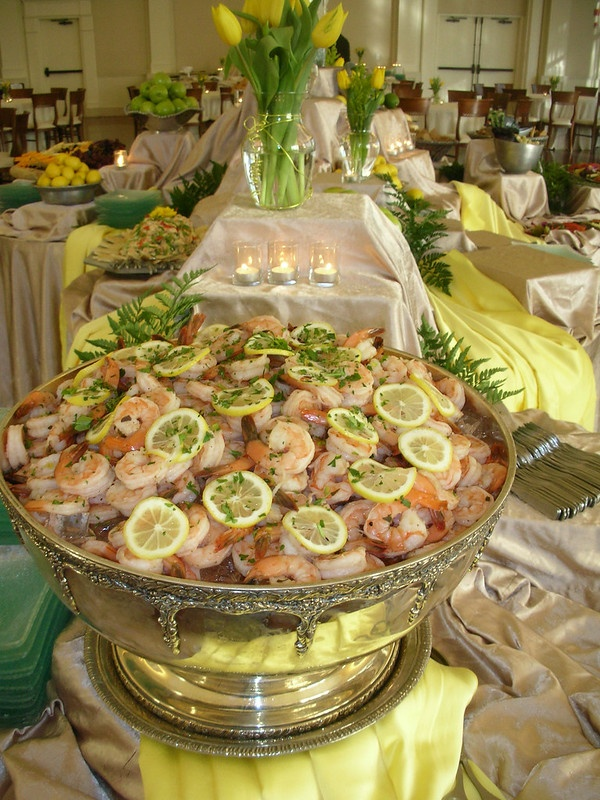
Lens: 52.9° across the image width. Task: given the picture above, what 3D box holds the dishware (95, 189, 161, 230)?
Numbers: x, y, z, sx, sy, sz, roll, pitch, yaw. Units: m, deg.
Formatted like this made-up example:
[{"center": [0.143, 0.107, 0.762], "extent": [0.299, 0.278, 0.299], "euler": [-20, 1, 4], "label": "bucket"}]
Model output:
[{"center": [-0.818, -0.902, 2.818], "extent": [0.249, 0.134, 0.241], "euler": [9, 31, 23], "label": "dishware"}]

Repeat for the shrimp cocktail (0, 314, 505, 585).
[{"center": [-0.063, 0.076, 0.690], "extent": [0.407, 0.117, 0.380], "euler": [4, 29, 4], "label": "shrimp cocktail"}]

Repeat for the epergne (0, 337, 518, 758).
[{"center": [-0.049, 0.150, 0.601], "extent": [0.436, 0.127, 0.407], "euler": [3, 23, 5], "label": "epergne"}]

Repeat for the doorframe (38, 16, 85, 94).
[{"center": [-4.833, -6.904, 12.320], "extent": [0.949, 1.737, 0.218], "euler": [-29, 61, -29], "label": "doorframe"}]

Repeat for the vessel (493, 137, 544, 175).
[{"center": [1.510, -1.675, 4.137], "extent": [0.300, 0.176, 0.281], "euler": [4, 29, 4], "label": "vessel"}]

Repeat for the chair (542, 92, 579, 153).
[{"center": [4.031, -4.281, 9.315], "extent": [0.464, 0.792, 0.525], "euler": [6, 17, 13], "label": "chair"}]

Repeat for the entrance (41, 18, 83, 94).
[{"center": [-4.856, -6.936, 12.290], "extent": [0.851, 1.990, 0.232], "euler": [-26, 64, -33], "label": "entrance"}]
